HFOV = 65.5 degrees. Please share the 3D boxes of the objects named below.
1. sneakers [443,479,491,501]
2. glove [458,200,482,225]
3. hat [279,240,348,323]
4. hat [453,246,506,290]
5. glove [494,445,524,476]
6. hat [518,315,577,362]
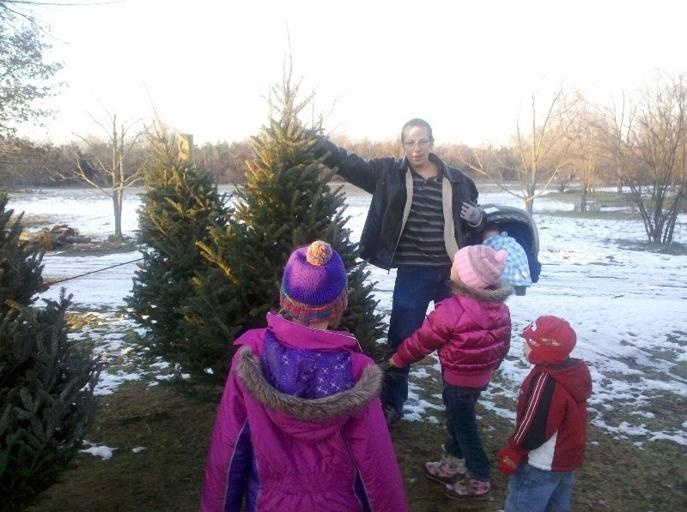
[{"bbox_3d":[1.056,1.977,4.602,0.408,0.219,0.160,6,-1,3],"label":"sneakers"},{"bbox_3d":[1.238,-0.401,5.180,0.215,0.218,0.108,5,12,13],"label":"glove"},{"bbox_3d":[-0.212,0.125,3.736,0.450,0.537,0.476,-17,37,-34],"label":"hat"},{"bbox_3d":[1.139,0.080,4.396,0.291,0.303,0.407,-25,-7,33],"label":"hat"},{"bbox_3d":[1.240,1.556,4.079,0.162,0.222,0.100,30,41,3],"label":"glove"},{"bbox_3d":[1.603,0.653,4.190,0.408,0.391,0.333,10,12,25],"label":"hat"}]
